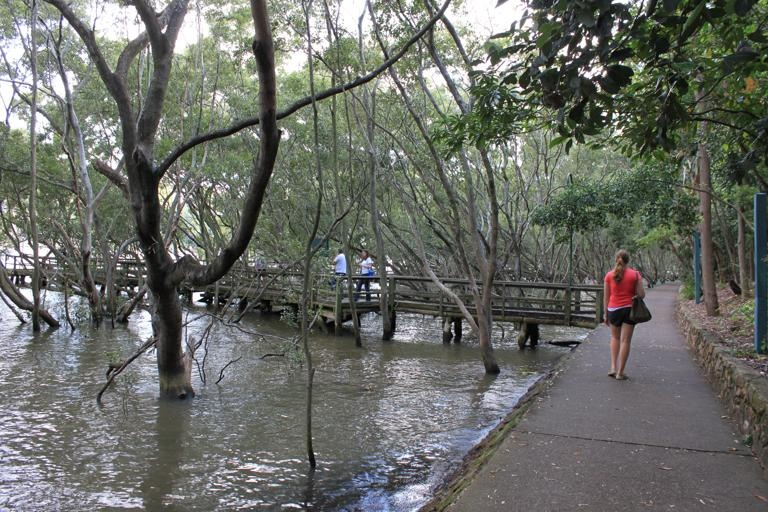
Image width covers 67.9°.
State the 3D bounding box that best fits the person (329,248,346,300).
[{"bbox_3d":[-1.535,0.472,19.561,0.461,1.484,0.445,1,17,-20],"label":"person"}]

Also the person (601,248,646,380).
[{"bbox_3d":[4.101,1.017,9.792,0.596,2.254,0.805,0,11,22],"label":"person"}]
